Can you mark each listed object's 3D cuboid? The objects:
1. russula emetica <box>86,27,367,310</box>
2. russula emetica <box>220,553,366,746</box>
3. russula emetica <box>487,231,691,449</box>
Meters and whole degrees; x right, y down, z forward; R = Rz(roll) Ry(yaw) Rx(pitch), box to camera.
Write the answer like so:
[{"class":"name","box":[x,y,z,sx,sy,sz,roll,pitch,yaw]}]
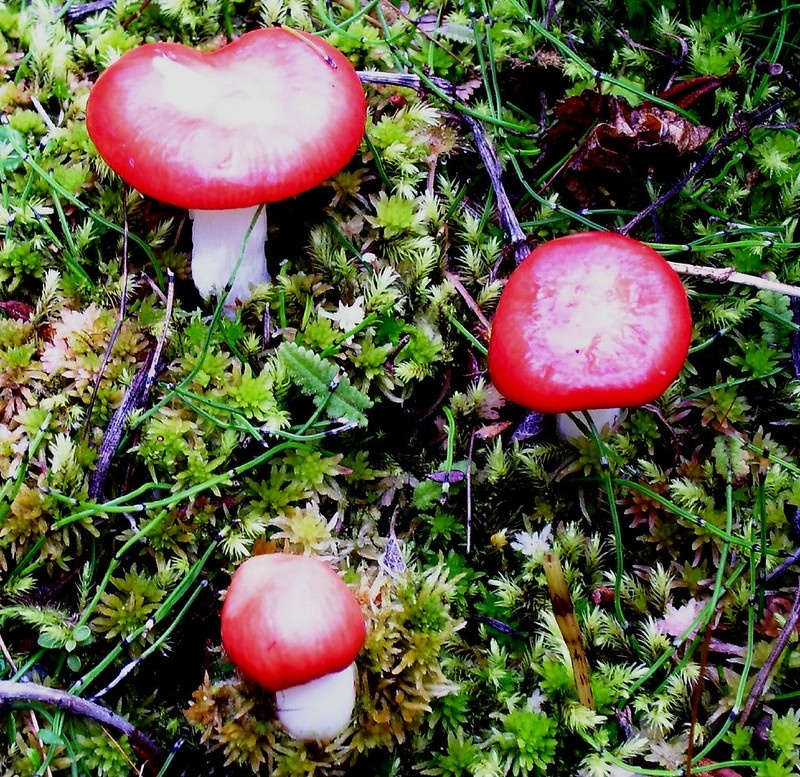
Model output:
[{"class":"russula emetica","box":[-0.586,-0.705,2.790,0.548,0.555,0.524,-37,70,-28]},{"class":"russula emetica","box":[-0.300,0.753,2.403,0.348,0.578,0.417,-3,16,10]},{"class":"russula emetica","box":[0.580,-0.138,2.554,0.443,0.539,0.620,9,71,7]}]
